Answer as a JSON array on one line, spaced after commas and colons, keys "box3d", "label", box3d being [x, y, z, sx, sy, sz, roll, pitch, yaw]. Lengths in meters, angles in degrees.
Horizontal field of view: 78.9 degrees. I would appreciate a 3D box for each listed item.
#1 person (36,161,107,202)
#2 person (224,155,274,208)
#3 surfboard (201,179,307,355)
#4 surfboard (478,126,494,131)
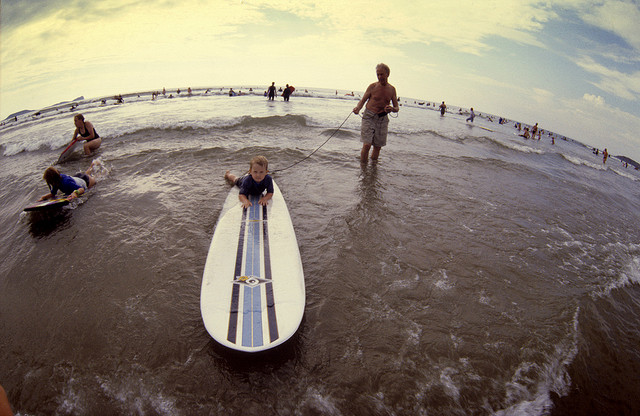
[{"box3d": [-6.764, -0.797, 10.714, 1.032, 0.839, 1.902, -4, 23, 9], "label": "person"}, {"box3d": [-1.830, -0.912, 10.451, 1.058, 1.111, 2.619, 0, 15, -17], "label": "person"}, {"box3d": [-1.526, 1.023, 9.163, 2.022, 0.668, 6.709, -5, 24, -7], "label": "surfboard"}, {"box3d": [12.686, -6.074, 29.804, 0.161, 0.185, 1.833, 0, 14, -38], "label": "surfboard"}]
